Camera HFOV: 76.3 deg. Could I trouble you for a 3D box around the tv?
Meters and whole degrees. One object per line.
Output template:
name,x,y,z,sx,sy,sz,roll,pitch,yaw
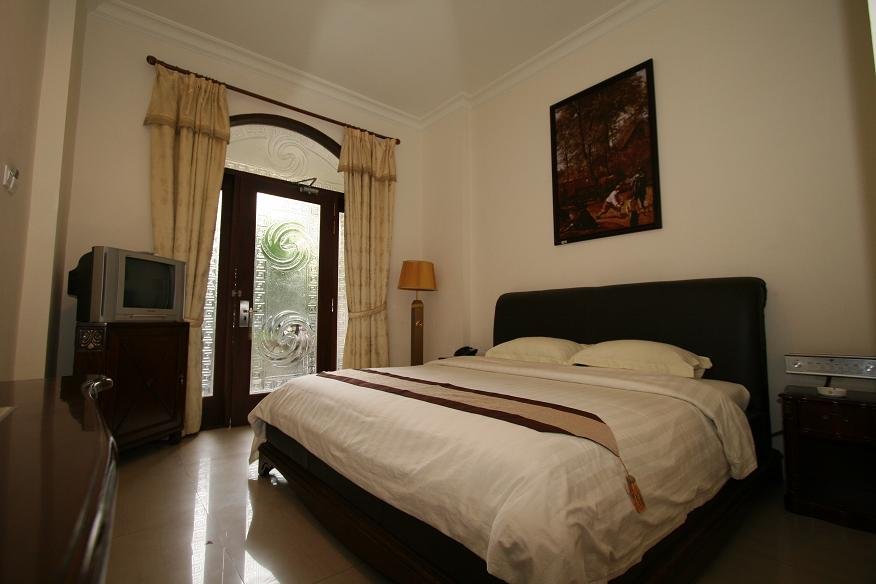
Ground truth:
tv,-2.615,-0.123,4.623,0.648,0.530,0.661,4,0,34
